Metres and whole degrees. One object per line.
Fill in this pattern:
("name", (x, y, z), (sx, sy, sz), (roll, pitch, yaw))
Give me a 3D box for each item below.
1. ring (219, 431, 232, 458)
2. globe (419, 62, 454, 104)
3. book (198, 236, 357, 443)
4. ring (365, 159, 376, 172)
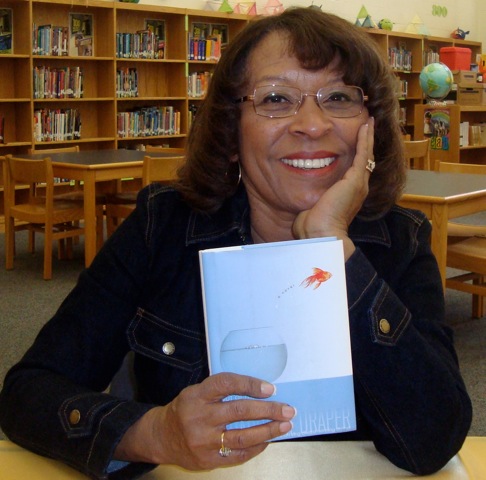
("ring", (-0.026, 0.263, 0.617), (0.016, 0.030, 0.007), (1, 8, 5))
("globe", (2.165, -1.762, 5.364), (0.350, 0.486, 0.371), (26, 39, 38))
("book", (0.046, 0.126, 0.608), (0.186, 0.244, 0.054), (-2, 10, 4))
("ring", (0.263, -0.155, 0.991), (0.021, 0.026, 0.008), (0, 14, -33))
